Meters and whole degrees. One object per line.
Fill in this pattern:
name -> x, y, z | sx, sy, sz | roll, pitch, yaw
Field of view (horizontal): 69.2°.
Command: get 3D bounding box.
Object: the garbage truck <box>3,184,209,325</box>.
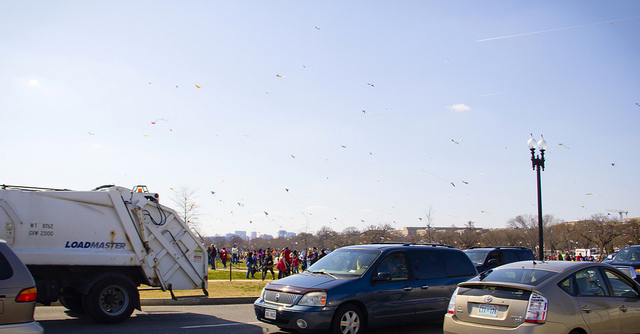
garbage truck -> -7.456, 2.977, 19.175 | 9.234, 4.903, 5.768 | 2, -7, -29

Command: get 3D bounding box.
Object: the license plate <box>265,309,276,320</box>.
license plate -> -1.555, 4.617, 14.489 | 0.423, 0.300, 0.070 | -5, -11, 38

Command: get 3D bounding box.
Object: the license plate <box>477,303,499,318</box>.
license plate -> 4.682, 4.003, 12.896 | 0.542, 0.318, 0.056 | -3, -10, 29

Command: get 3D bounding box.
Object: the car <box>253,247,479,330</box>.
car -> 1.842, 4.030, 15.618 | 6.180, 1.768, 3.179 | 8, -15, -35
